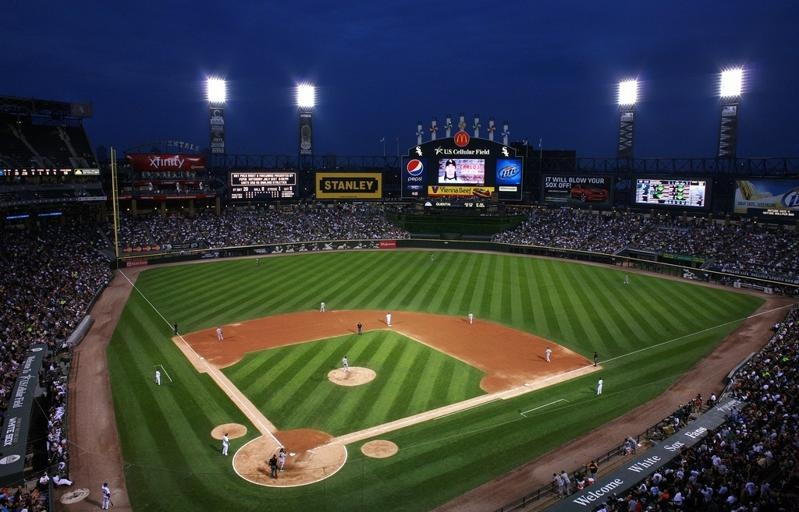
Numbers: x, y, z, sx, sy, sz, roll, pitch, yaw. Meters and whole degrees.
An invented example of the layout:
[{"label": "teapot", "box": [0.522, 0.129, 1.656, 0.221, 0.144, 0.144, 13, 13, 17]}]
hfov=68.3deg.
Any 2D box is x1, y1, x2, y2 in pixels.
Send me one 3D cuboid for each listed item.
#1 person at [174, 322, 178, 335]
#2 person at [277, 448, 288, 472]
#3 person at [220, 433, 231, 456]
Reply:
[{"label": "person", "box": [-19.724, 6.344, 51.568, 0.347, 0.876, 1.241, -5, 12, -21]}, {"label": "person", "box": [-7.407, 12.613, 37.152, 0.520, 1.189, 1.138, -1, 12, -4]}, {"label": "person", "box": [-11.363, 11.955, 38.119, 0.507, 1.233, 1.358, -4, 12, -15]}]
